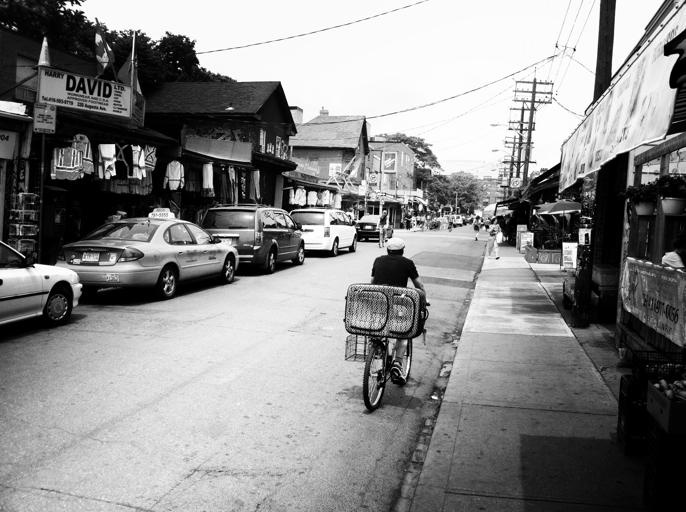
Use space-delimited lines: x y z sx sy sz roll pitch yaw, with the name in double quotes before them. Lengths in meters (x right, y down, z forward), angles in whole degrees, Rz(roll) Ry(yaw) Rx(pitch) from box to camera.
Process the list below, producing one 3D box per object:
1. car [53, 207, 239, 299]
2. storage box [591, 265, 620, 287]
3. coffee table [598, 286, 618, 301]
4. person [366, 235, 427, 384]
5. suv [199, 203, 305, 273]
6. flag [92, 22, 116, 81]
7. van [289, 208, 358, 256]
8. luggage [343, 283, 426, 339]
"car" -4.598 -0.109 14.376 2.154 2.040 5.402 2 4 17
"storage box" 5.452 0.410 11.435 0.353 0.345 0.669 3 4 3
"coffee table" 5.413 0.748 11.366 0.250 0.314 0.433 -1 2 -1
"person" 0.711 0.635 7.486 0.678 1.581 2.028 1 2 10
"suv" -2.903 -0.598 19.614 2.139 2.330 5.647 -1 4 11
"flag" -7.151 -6.188 16.595 0.526 2.036 0.231 -5 -14 -27
"van" -0.797 -1.217 26.548 2.030 2.219 5.798 2 6 15
"luggage" 0.493 0.663 6.697 0.917 0.605 0.198 3 5 6
